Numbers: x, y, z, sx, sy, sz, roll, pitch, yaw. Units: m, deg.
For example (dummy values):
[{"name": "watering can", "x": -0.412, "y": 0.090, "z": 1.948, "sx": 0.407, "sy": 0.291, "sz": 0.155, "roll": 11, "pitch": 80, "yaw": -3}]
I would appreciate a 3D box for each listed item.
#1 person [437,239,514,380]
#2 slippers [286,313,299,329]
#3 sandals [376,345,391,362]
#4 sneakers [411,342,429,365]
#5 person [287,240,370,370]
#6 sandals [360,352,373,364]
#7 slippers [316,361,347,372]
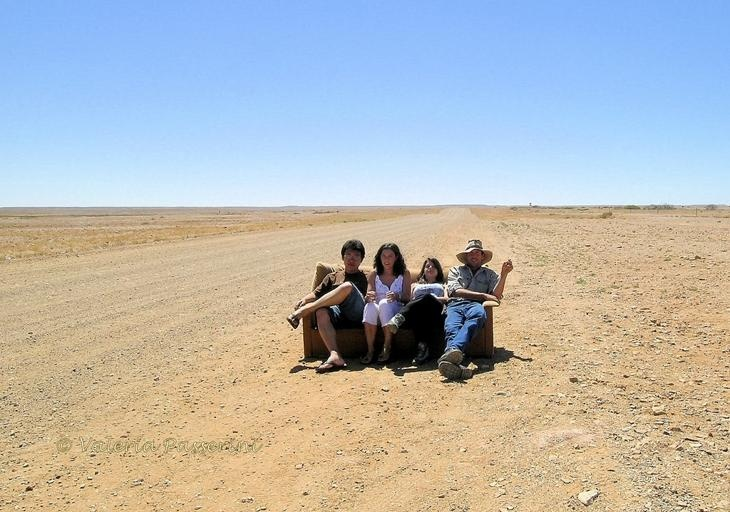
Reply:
[{"name": "person", "x": 1.602, "y": 0.798, "z": 7.394, "sx": 0.992, "sy": 1.171, "sz": 2.444, "roll": 5, "pitch": 33, "yaw": 13}, {"name": "slippers", "x": -1.130, "y": 1.034, "z": 7.443, "sx": 0.155, "sy": 0.273, "sz": 0.282, "roll": -8, "pitch": 12, "yaw": -14}, {"name": "sandals", "x": 0.283, "y": 1.547, "z": 7.416, "sx": 0.251, "sy": 0.227, "sz": 0.168, "roll": -8, "pitch": 13, "yaw": -17}, {"name": "sneakers", "x": 0.839, "y": 1.519, "z": 7.327, "sx": 0.157, "sy": 0.278, "sz": 0.389, "roll": 2, "pitch": 13, "yaw": 28}, {"name": "person", "x": -0.501, "y": 0.749, "z": 7.680, "sx": 0.882, "sy": 1.852, "sz": 1.566, "roll": 4, "pitch": 15, "yaw": 35}, {"name": "sandals", "x": 0.016, "y": 1.608, "z": 7.466, "sx": 0.179, "sy": 0.125, "sz": 0.470, "roll": -2, "pitch": -2, "yaw": 5}, {"name": "slippers", "x": -0.519, "y": 1.674, "z": 7.228, "sx": 0.474, "sy": 0.186, "sz": 0.162, "roll": 2, "pitch": -13, "yaw": -19}]
